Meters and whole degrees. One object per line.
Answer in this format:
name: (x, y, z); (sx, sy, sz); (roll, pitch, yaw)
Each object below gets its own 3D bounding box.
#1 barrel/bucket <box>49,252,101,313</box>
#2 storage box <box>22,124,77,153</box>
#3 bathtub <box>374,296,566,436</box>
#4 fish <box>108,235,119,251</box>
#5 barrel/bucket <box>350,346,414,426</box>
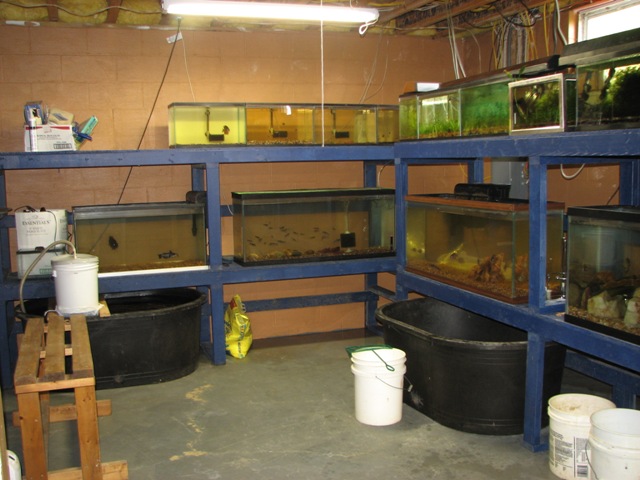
barrel/bucket: (-1.690, 0.294, 3.869); (0.316, 0.424, 0.288); (2, 13, -1)
storage box: (-2.072, -0.775, 4.286); (0.401, 0.244, 0.214); (-1, 8, -14)
bathtub: (0.961, 0.851, 4.030); (0.795, 0.532, 1.250); (-7, 8, -24)
fish: (-1.678, 0.029, 4.543); (0.062, 0.114, 0.027); (-31, 22, -15)
barrel/bucket: (0.418, 0.982, 3.870); (0.424, 0.465, 0.477); (2, 3, 22)
